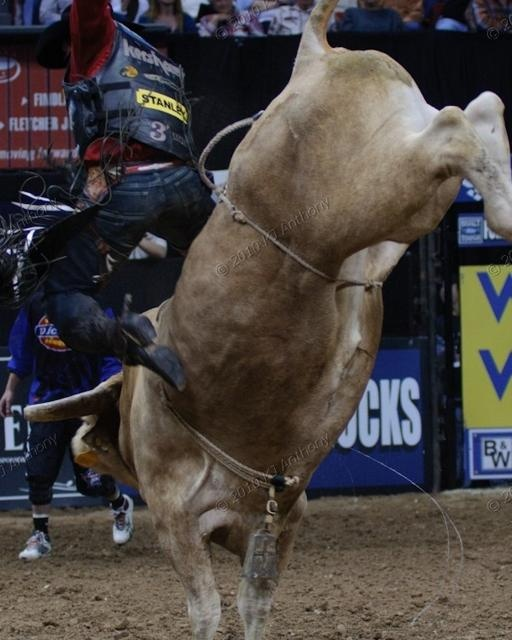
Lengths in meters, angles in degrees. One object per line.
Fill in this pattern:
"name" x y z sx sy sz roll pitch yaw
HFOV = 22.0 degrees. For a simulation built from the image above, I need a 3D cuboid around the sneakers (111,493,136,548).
"sneakers" -0.820 1.176 7.688 0.104 0.311 0.152 -3 -10 28
